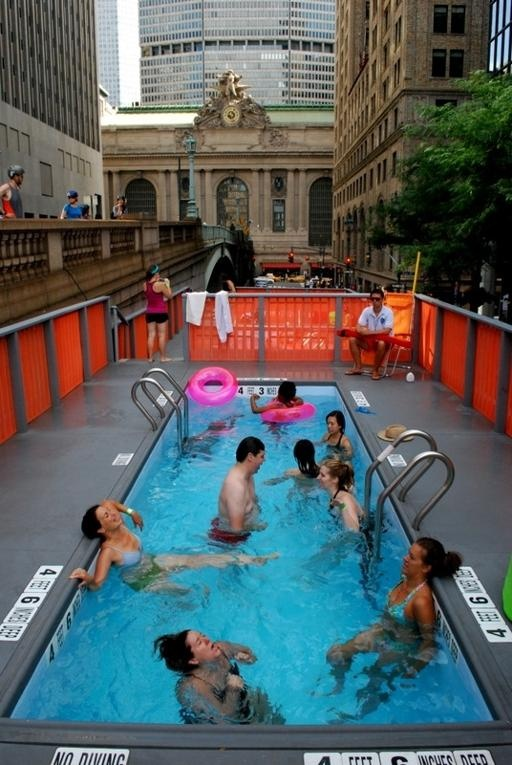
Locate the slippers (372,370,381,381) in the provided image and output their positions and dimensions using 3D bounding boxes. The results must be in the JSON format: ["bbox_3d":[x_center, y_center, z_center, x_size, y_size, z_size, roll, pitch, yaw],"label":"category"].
[{"bbox_3d":[2.779,-0.213,10.578,0.234,0.218,0.634,6,11,14],"label":"slippers"}]

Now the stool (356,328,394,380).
[{"bbox_3d":[2.996,-0.711,10.852,0.845,1.175,1.531,3,1,5],"label":"stool"}]

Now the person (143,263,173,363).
[{"bbox_3d":[-2.529,-1.790,11.849,0.587,2.486,1.018,0,11,-15],"label":"person"}]

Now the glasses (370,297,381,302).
[{"bbox_3d":[2.701,-1.933,10.455,0.207,0.151,0.195,10,13,34],"label":"glasses"}]

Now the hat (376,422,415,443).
[{"bbox_3d":[2.038,0.727,6.678,0.478,0.164,0.479,-6,31,8],"label":"hat"}]
